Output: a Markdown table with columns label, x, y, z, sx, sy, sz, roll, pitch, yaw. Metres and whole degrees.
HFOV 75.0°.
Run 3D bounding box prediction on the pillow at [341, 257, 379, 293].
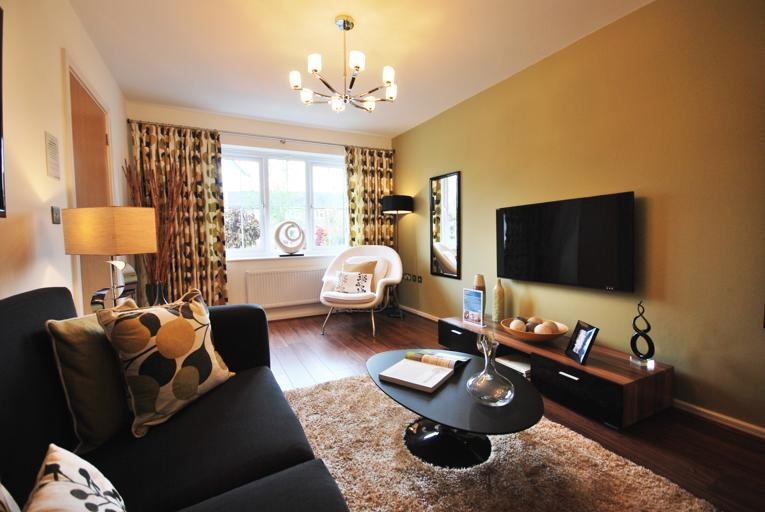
| label | x | y | z | sx | sy | sz | roll | pitch | yaw |
| --- | --- | --- | --- | --- | --- | --- | --- | --- | --- |
| pillow | -0.264 | 0.250 | 5.960 | 0.364 | 0.374 | 0.146 | -3 | -29 | 19 |

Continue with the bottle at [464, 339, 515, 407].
| label | x | y | z | sx | sy | sz | roll | pitch | yaw |
| --- | --- | --- | --- | --- | --- | --- | --- | --- | --- |
| bottle | 0.728 | 0.777 | 3.380 | 0.331 | 0.501 | 0.347 | -2 | 5 | 0 |

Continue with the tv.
| label | x | y | z | sx | sy | sz | roll | pitch | yaw |
| --- | --- | --- | --- | --- | --- | --- | --- | --- | --- |
| tv | 1.604 | -0.115 | 4.582 | 0.109 | 0.805 | 1.349 | -1 | 1 | -39 |

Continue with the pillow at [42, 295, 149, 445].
| label | x | y | z | sx | sy | sz | roll | pitch | yaw |
| --- | --- | --- | --- | --- | --- | --- | --- | --- | --- |
| pillow | -1.765 | 0.748 | 3.244 | 0.383 | 0.752 | 0.935 | 2 | 1 | 0 |

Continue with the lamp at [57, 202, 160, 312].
| label | x | y | z | sx | sy | sz | roll | pitch | yaw |
| --- | --- | --- | --- | --- | --- | --- | --- | --- | --- |
| lamp | -2.075 | -0.059 | 3.767 | 0.667 | 0.860 | 0.444 | 7 | 29 | -7 |

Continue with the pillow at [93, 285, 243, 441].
| label | x | y | z | sx | sy | sz | roll | pitch | yaw |
| --- | --- | --- | --- | --- | --- | --- | --- | --- | --- |
| pillow | -1.363 | 0.629 | 3.232 | 0.435 | 0.709 | 0.813 | 18 | 20 | 21 |

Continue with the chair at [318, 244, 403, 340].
| label | x | y | z | sx | sy | sz | roll | pitch | yaw |
| --- | --- | --- | --- | --- | --- | --- | --- | --- | --- |
| chair | -0.279 | 0.347 | 6.052 | 1.025 | 1.006 | 0.888 | 0 | -1 | 22 |

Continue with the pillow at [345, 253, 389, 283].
| label | x | y | z | sx | sy | sz | roll | pitch | yaw |
| --- | --- | --- | --- | --- | --- | --- | --- | --- | --- |
| pillow | -0.179 | 0.166 | 6.074 | 0.327 | 0.278 | 0.123 | 2 | -15 | 31 |

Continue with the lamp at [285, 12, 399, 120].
| label | x | y | z | sx | sy | sz | roll | pitch | yaw |
| --- | --- | --- | --- | --- | --- | --- | --- | --- | --- |
| lamp | -0.325 | -1.772 | 4.543 | 0.858 | 0.744 | 0.849 | -8 | 23 | -17 |

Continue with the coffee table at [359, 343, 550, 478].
| label | x | y | z | sx | sy | sz | roll | pitch | yaw |
| --- | --- | --- | --- | --- | --- | --- | --- | --- | --- |
| coffee table | 0.499 | 0.942 | 3.494 | 1.311 | 0.499 | 0.888 | -8 | -3 | -27 |
